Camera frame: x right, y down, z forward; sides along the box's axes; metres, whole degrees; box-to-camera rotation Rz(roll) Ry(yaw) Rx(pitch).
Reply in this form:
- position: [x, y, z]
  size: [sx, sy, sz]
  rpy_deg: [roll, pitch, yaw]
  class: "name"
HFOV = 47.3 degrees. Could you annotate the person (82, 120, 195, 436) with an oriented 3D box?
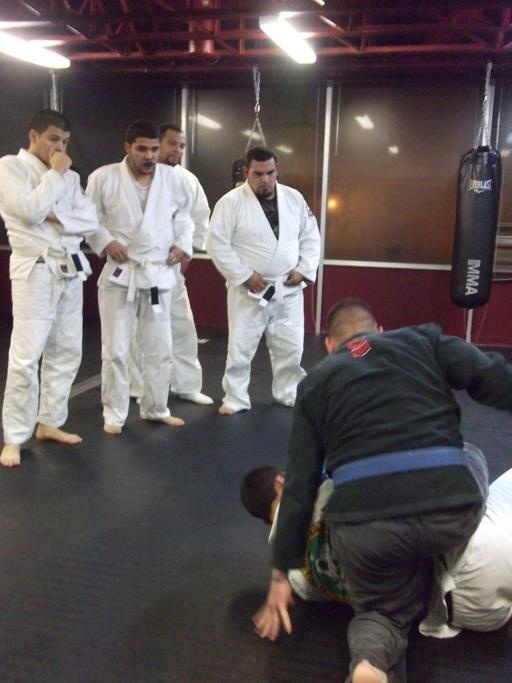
- position: [-0.595, -0.324, 3.065]
  size: [0.545, 1.562, 0.399]
  rpy_deg: [-2, 12, -16]
  class: "person"
